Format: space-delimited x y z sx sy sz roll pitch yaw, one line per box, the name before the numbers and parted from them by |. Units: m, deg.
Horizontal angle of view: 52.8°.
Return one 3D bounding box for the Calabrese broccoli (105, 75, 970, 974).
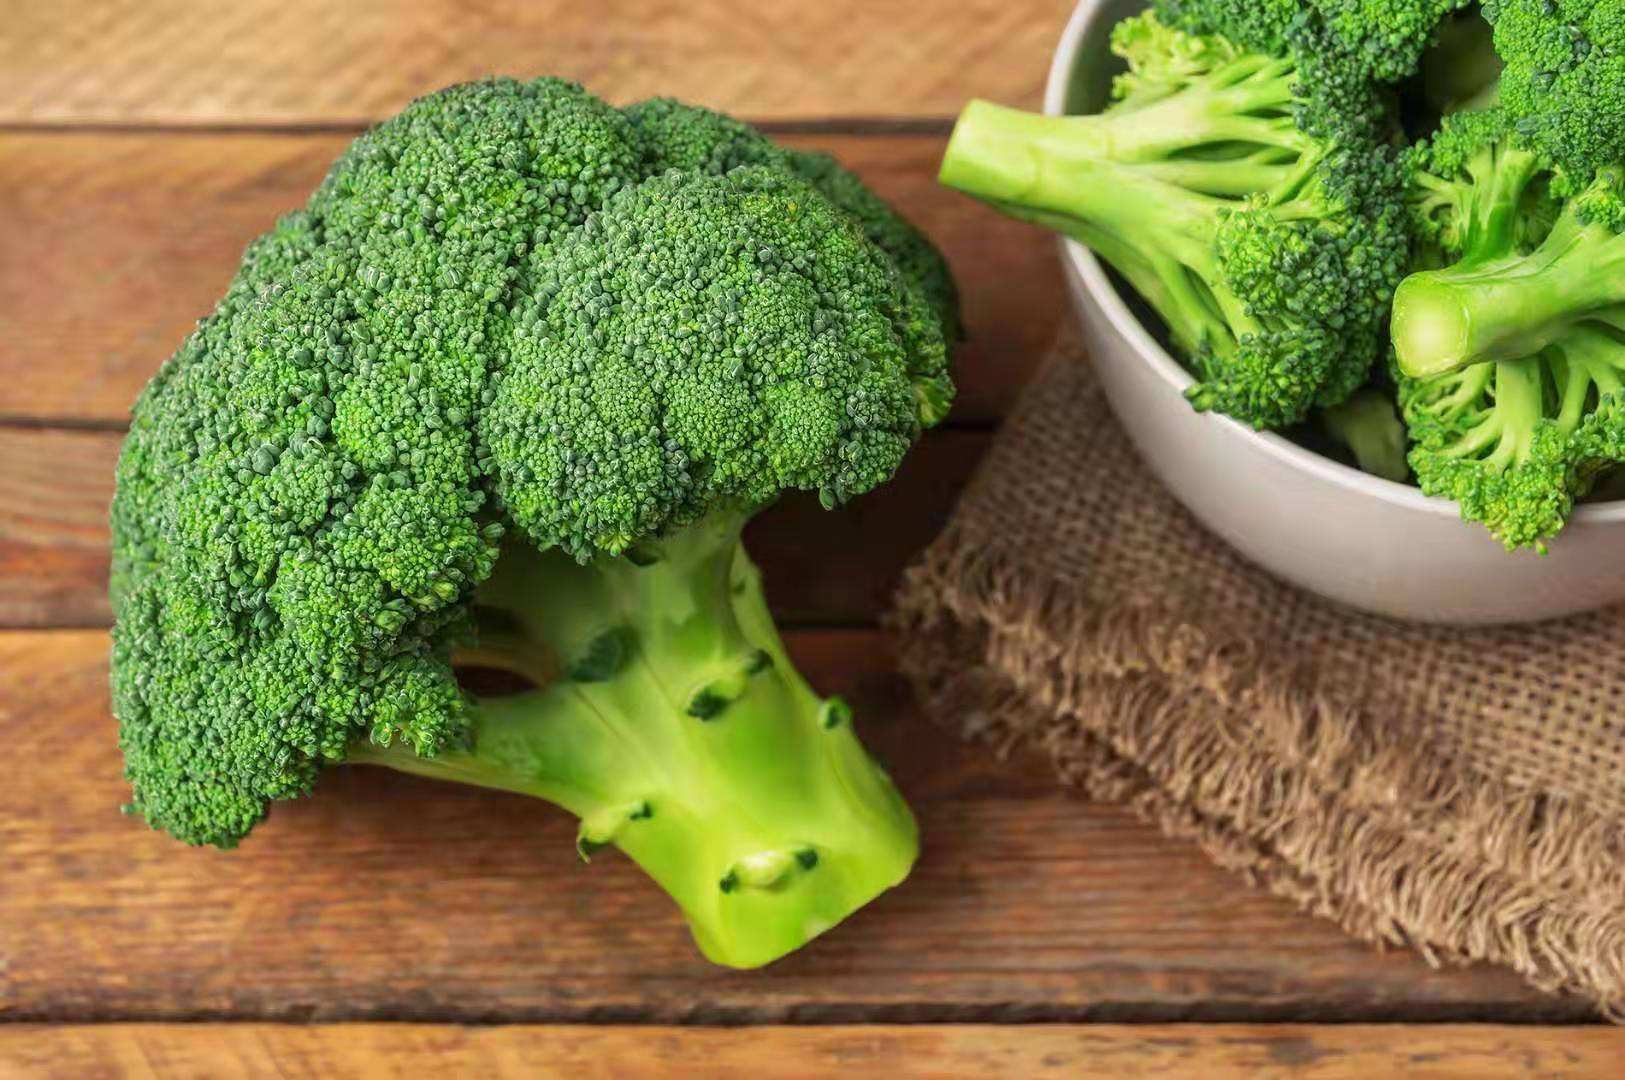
Calabrese broccoli | -0.237 -0.036 1.373 0.678 0.493 0.587 5 56 9
